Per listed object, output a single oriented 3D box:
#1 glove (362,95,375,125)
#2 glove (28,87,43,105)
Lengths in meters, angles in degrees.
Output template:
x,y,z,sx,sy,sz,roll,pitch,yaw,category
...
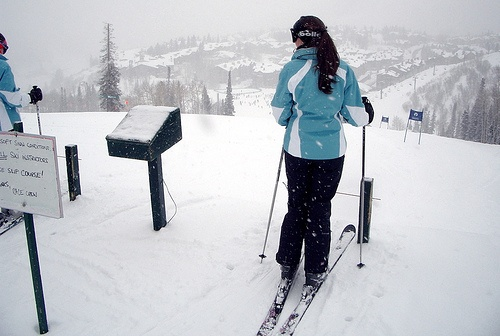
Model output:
x,y,z,sx,sy,sz,roll,pitch,yaw,category
1.681,-0.833,5.727,0.103,0.351,0.238,-2,14,0,glove
-3.980,-1.320,7.499,0.215,0.291,0.356,6,-10,-30,glove
